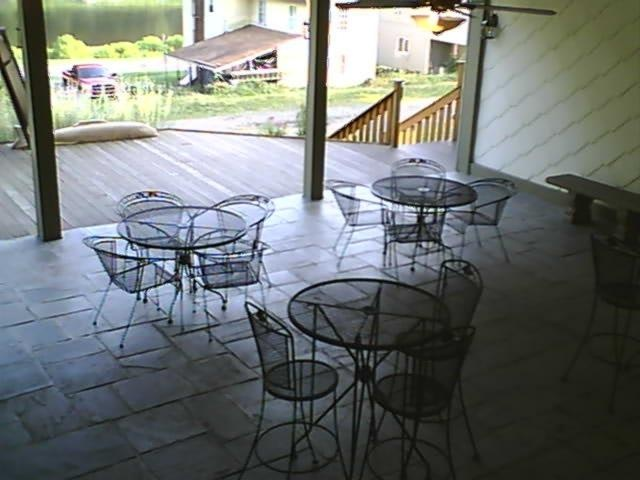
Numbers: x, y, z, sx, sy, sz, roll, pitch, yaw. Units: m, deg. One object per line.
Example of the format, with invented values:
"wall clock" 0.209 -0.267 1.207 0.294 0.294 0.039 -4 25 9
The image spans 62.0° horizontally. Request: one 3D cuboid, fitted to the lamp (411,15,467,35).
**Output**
"lamp" 1.180 -2.173 5.352 0.413 0.104 0.385 13 21 33
